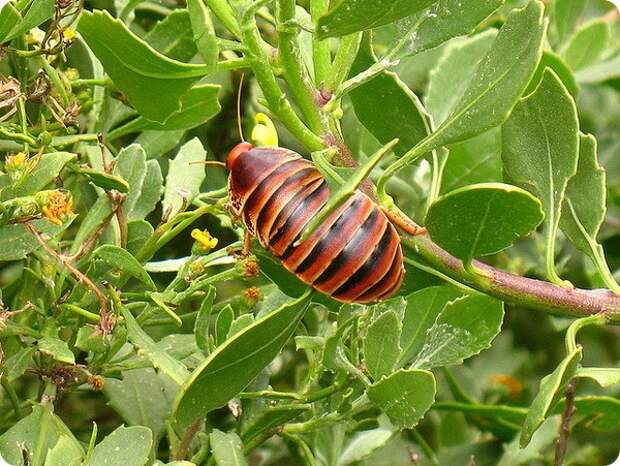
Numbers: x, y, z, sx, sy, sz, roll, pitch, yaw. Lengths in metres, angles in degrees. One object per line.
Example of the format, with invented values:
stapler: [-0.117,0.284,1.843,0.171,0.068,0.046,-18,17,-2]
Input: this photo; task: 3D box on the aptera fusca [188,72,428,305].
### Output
aptera fusca: [-0.005,-0.023,1.317,0.365,0.275,0.209,23,66,33]
